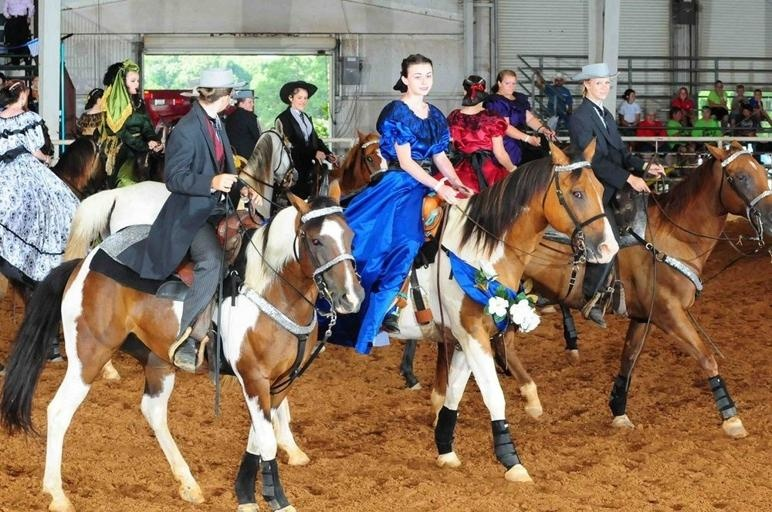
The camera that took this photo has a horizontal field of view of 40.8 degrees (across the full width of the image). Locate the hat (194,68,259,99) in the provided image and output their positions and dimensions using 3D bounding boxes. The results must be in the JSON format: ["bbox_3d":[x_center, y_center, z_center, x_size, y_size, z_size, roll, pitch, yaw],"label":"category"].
[{"bbox_3d":[-1.695,-1.845,10.993,0.385,0.180,0.458,6,13,25],"label":"hat"}]

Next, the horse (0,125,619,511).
[{"bbox_3d":[-0.922,0.729,10.973,6.142,4.035,1.221,2,11,-6],"label":"horse"}]

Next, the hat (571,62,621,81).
[{"bbox_3d":[2.496,-2.197,12.351,0.427,0.223,0.391,11,15,27],"label":"hat"}]

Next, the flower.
[{"bbox_3d":[1.352,0.499,11.157,0.592,0.709,0.290,4,-11,-21],"label":"flower"}]
